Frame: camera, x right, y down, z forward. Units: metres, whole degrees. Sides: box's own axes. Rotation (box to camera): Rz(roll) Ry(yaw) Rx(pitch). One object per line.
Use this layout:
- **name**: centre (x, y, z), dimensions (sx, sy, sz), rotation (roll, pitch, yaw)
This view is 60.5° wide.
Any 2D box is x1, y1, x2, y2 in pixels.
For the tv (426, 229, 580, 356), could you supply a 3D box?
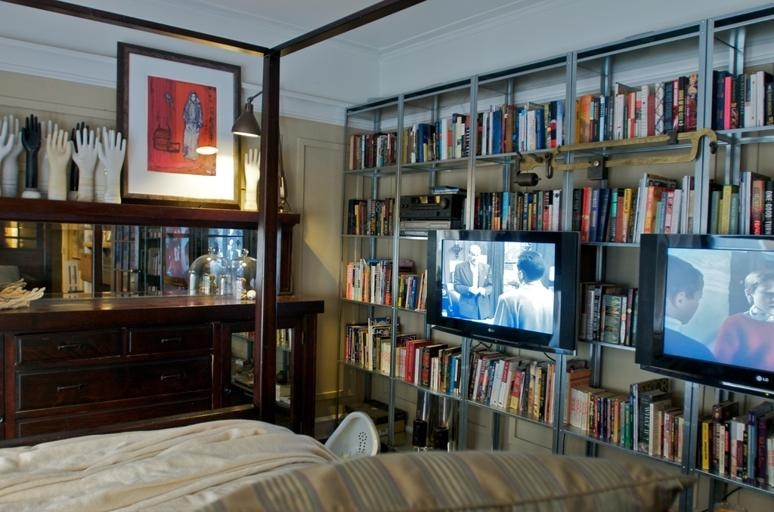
- **tv**: centre (0.807, 0.228, 4.774), dimensions (1.284, 0.819, 0.128), rotation (4, 4, 45)

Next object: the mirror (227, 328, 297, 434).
- **mirror**: centre (-0.959, 0.944, 5.163), dimensions (0.187, 0.681, 0.791), rotation (-4, 2, -43)
